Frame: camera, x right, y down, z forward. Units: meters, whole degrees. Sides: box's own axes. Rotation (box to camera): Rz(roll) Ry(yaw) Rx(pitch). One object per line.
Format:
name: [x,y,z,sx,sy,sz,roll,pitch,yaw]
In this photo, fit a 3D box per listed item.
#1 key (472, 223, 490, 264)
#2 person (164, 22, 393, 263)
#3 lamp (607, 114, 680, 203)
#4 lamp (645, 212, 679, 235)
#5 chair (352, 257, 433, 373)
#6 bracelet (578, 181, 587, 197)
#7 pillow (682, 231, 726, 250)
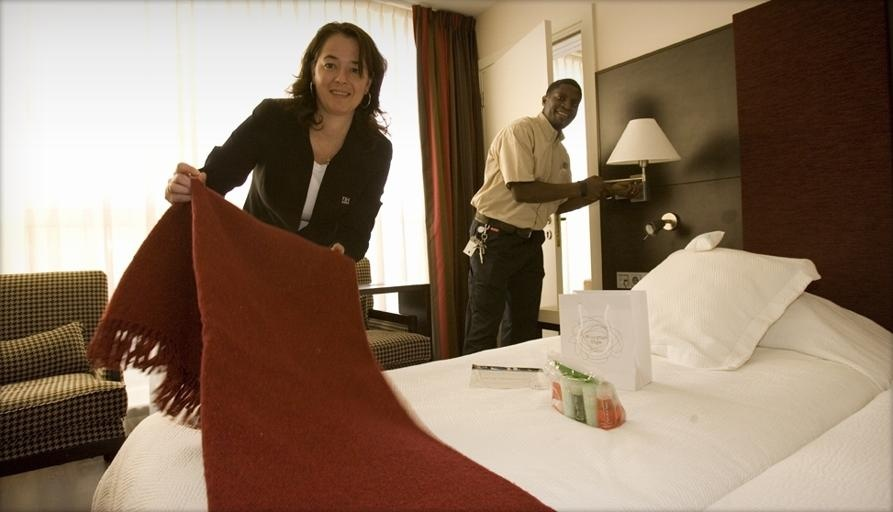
key: [0.216,-0.083,3.844,0.123,0.212,0.043,0,0,26]
person: [-0.797,-0.619,3.327,0.965,1.294,0.362,-5,8,-24]
lamp: [1.315,-0.639,3.999,0.507,0.570,0.516,2,8,37]
lamp: [1.448,-0.212,3.945,0.218,0.119,0.127,-12,5,-42]
chair: [-0.463,0.454,4.235,0.563,0.956,0.729,-2,1,-40]
bracelet: [0.878,-0.429,3.766,0.089,0.090,0.029,-7,9,-38]
pillow: [1.422,-0.077,3.232,0.191,0.097,0.136,-6,7,-30]
